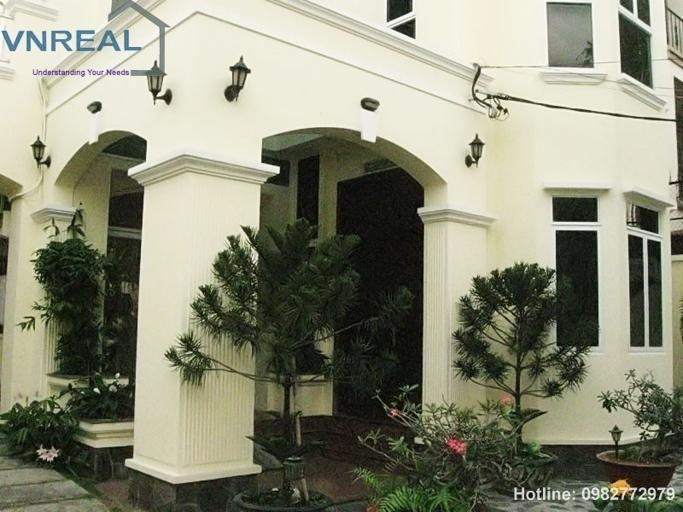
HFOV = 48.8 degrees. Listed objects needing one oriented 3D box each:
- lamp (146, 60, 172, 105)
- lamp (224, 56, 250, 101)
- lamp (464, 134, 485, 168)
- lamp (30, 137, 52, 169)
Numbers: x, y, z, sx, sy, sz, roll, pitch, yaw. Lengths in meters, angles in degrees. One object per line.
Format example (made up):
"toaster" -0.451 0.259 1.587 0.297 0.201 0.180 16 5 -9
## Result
"lamp" -2.004 -1.872 8.219 0.271 0.463 0.170 -7 11 -44
"lamp" -1.096 -1.939 8.145 0.295 0.524 0.302 4 -11 -19
"lamp" 1.819 -1.431 10.174 0.225 0.453 0.231 4 -11 -19
"lamp" -4.350 -1.511 10.888 0.274 0.434 0.338 7 -12 -33
